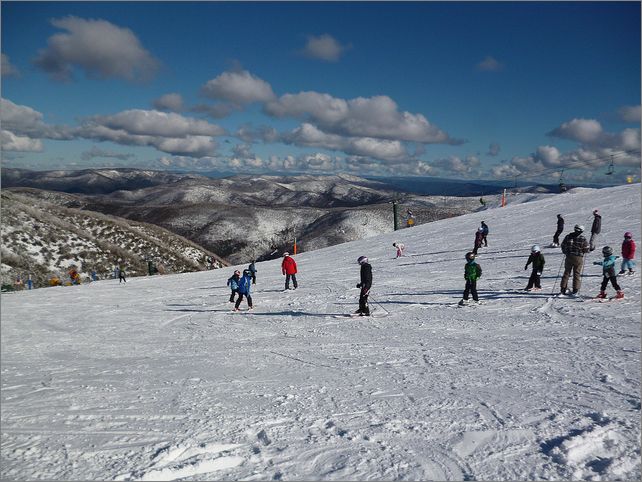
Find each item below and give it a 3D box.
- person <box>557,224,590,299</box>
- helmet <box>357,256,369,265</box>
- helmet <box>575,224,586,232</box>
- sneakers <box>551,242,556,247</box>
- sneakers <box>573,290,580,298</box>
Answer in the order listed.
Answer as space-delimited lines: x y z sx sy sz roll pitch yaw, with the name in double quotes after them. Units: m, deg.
8.222 0.650 15.030 0.804 2.321 0.617 4 14 41 "person"
1.272 0.623 15.165 0.379 0.241 0.286 4 2 32 "helmet"
8.297 -0.411 14.968 0.289 0.225 0.300 2 9 -39 "helmet"
12.080 0.175 24.154 0.189 0.200 0.585 -5 -10 27 "sneakers"
8.370 1.706 15.233 0.284 0.218 0.185 15 -18 -32 "sneakers"
